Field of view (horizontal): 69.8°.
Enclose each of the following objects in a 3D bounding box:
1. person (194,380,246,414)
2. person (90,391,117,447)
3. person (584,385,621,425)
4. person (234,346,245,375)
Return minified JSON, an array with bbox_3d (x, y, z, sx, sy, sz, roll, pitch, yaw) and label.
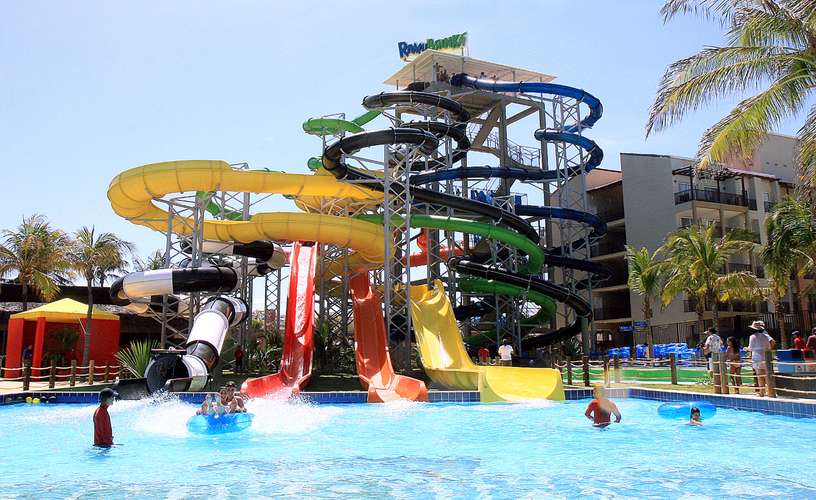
[{"bbox_3d":[-3.995,3.210,12.659,0.927,0.601,0.975,-1,-9,-3],"label":"person"},{"bbox_3d":[-5.817,3.205,11.179,0.333,1.128,1.887,3,-10,-27],"label":"person"},{"bbox_3d":[4.094,3.308,12.413,0.768,0.858,0.622,5,-11,-38],"label":"person"},{"bbox_3d":[-6.576,4.256,22.648,0.357,1.022,0.582,1,-9,-16],"label":"person"}]
